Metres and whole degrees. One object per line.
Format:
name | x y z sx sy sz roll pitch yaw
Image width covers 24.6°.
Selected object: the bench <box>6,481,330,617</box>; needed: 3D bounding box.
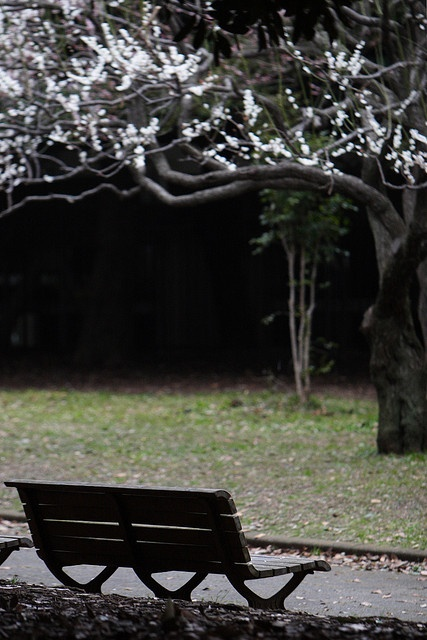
bench | -0.351 1.287 5.774 1.622 0.817 0.553 2 7 30
